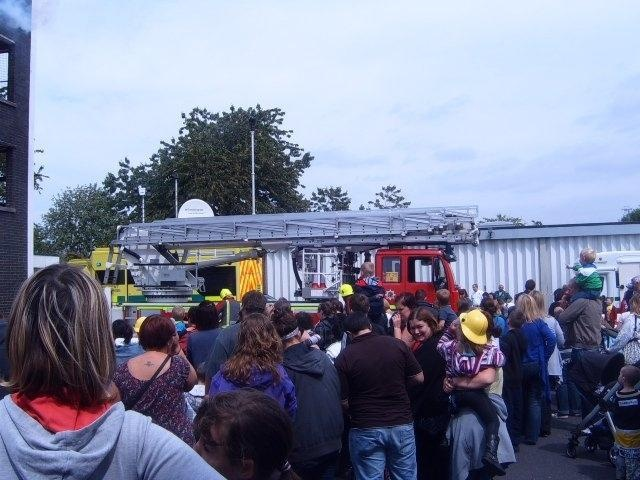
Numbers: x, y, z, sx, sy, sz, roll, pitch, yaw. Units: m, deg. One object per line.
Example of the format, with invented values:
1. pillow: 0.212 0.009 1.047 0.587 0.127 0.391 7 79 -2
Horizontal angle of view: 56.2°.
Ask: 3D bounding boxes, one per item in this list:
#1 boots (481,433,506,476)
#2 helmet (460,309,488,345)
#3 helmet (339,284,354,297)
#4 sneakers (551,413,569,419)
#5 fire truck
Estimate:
1. boots: 1.501 1.882 5.193 0.179 0.399 0.266 -1 -3 17
2. helmet: 1.342 0.760 5.344 0.209 0.131 0.291 -3 43 -24
3. helmet: 0.358 0.718 8.442 0.141 0.122 0.200 -4 -3 -8
4. sneakers: 3.759 2.741 9.386 0.226 0.100 0.086 1 -4 26
5. fire truck: -0.823 0.870 13.400 7.963 2.986 2.215 -2 -3 5
